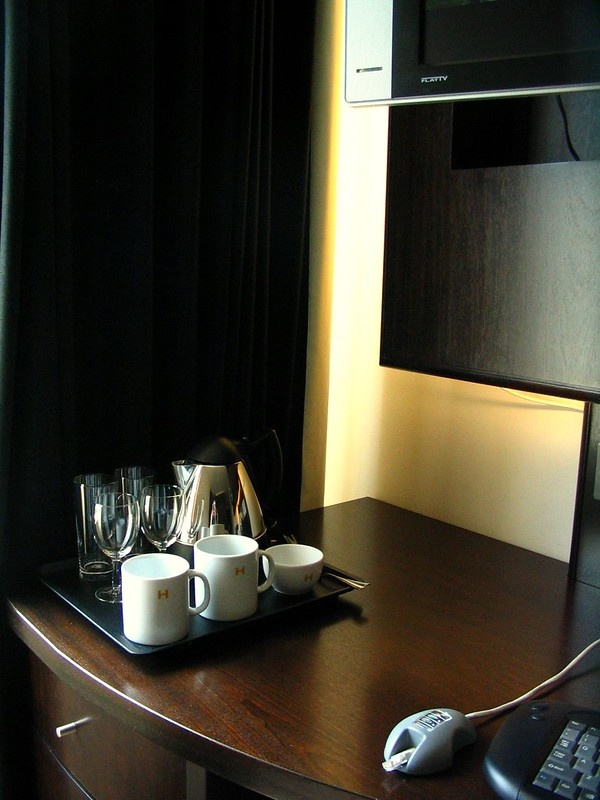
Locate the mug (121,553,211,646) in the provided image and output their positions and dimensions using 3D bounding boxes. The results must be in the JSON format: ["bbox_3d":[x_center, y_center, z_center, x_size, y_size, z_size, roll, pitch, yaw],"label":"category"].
[{"bbox_3d":[-0.155,0.215,0.742,0.090,0.088,0.069,-2,6,-33],"label":"mug"}]

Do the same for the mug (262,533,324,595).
[{"bbox_3d":[-0.005,0.235,0.869,0.067,0.057,0.078,0,6,-14],"label":"mug"}]

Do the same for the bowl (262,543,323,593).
[{"bbox_3d":[-0.014,0.213,0.862,0.053,0.046,0.063,5,4,2],"label":"bowl"}]

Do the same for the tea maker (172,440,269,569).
[{"bbox_3d":[-0.122,0.132,0.947,0.123,0.180,0.127,-3,10,-22],"label":"tea maker"}]

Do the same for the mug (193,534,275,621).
[{"bbox_3d":[-0.071,0.219,0.793,0.090,0.088,0.065,0,6,-19],"label":"mug"}]
